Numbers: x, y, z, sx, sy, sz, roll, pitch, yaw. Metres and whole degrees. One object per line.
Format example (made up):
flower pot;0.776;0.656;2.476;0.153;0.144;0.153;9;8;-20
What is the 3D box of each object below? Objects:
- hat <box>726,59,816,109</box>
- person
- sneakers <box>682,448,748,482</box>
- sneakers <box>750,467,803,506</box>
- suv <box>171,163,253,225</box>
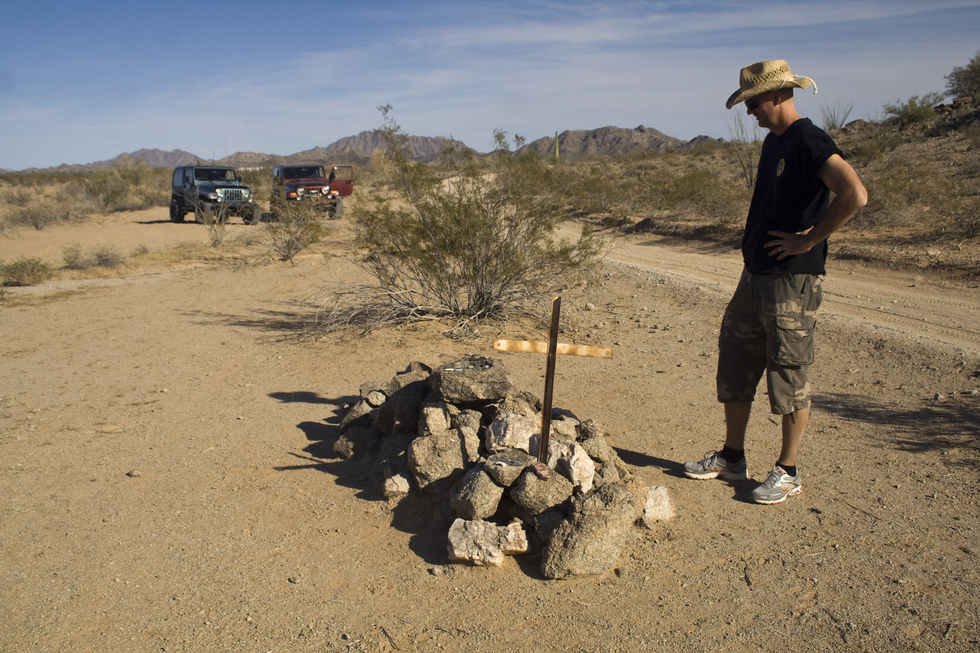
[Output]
hat;2.170;-1.888;5.341;0.593;0.292;0.300;0;19;15
person;2.290;-0.292;5.507;1.014;3.425;0.889;5;20;28
sneakers;1.965;1.208;6.074;0.517;0.285;0.251;3;3;4
sneakers;2.359;1.288;5.770;0.477;0.258;0.202;-18;21;-24
suv;-8.491;-4.059;21.339;1.833;1.764;3.333;-5;9;-38
